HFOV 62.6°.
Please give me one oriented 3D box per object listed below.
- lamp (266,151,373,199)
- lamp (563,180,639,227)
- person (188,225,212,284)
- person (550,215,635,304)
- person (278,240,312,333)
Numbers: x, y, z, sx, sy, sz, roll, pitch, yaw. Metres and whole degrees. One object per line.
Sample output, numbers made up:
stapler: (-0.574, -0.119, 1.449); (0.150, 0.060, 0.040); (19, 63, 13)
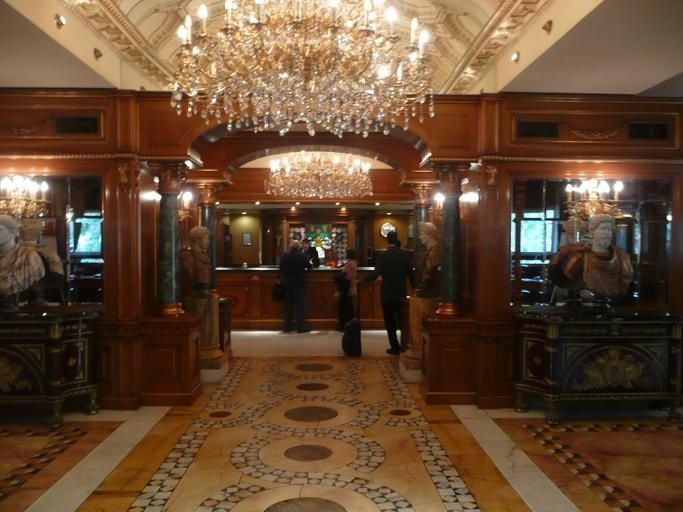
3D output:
lamp: (-0.377, -1.500, 10.370); (1.223, 0.440, 1.166); (1, -2, -25)
lamp: (3.130, -0.604, 6.705); (0.646, 0.626, 0.622); (0, 1, -41)
person: (-1.967, 0.002, 7.757); (0.266, 0.812, 0.184); (-1, 2, -15)
person: (2.919, 0.047, 6.600); (1.118, 1.028, 0.562); (0, -3, -2)
person: (-0.907, 0.605, 10.895); (0.580, 1.754, 0.362); (-1, 2, -7)
